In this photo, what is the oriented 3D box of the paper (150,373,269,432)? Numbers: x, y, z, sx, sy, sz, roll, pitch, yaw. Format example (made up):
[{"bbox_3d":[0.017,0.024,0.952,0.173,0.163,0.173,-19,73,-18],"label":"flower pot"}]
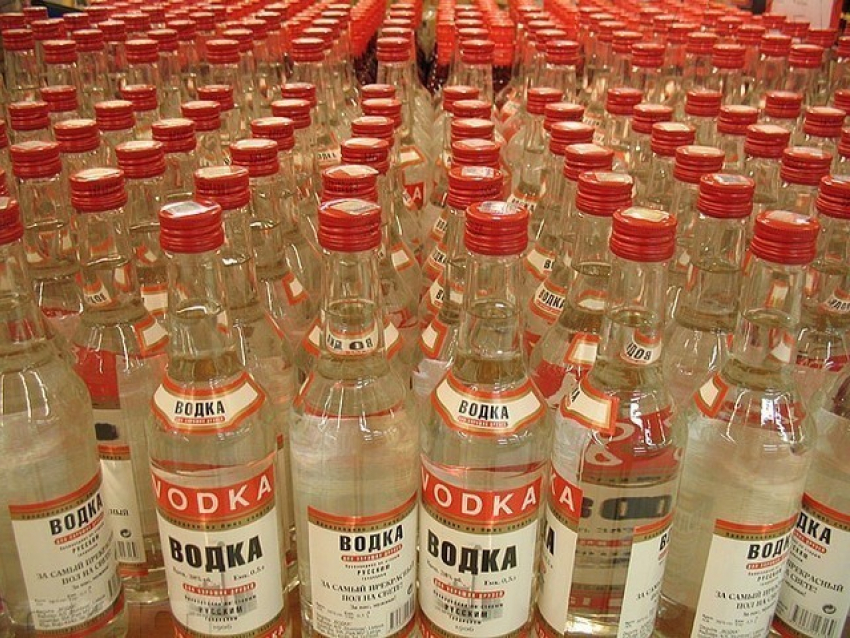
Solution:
[{"bbox_3d":[-0.272,0.106,0.848,0.074,0.026,0.091,0,28,-4],"label":"paper"}]
